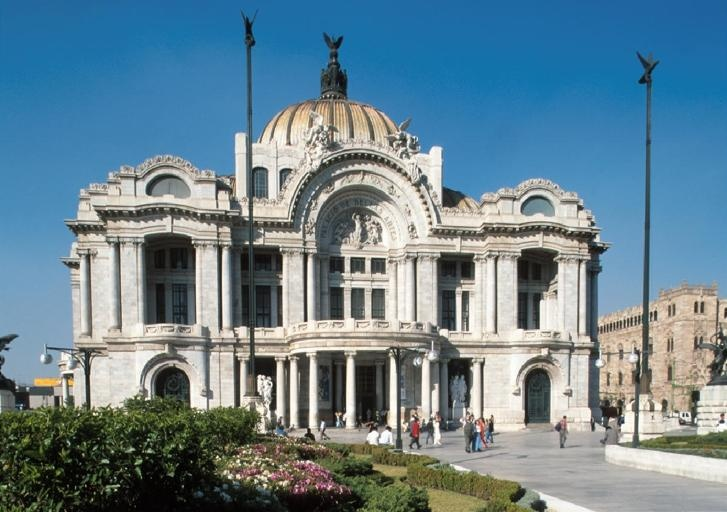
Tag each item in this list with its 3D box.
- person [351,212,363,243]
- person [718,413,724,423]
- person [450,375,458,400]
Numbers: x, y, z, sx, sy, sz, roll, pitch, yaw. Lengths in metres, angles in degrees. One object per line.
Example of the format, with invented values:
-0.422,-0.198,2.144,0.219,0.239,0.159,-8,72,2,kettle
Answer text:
-0.610,-2.552,155.821,1.007,2.889,0.383,1,-10,-10,person
28.329,12.724,137.001,0.468,0.792,0.617,-2,-11,10,person
8.003,11.644,154.320,0.748,2.171,0.281,-2,-10,10,person
